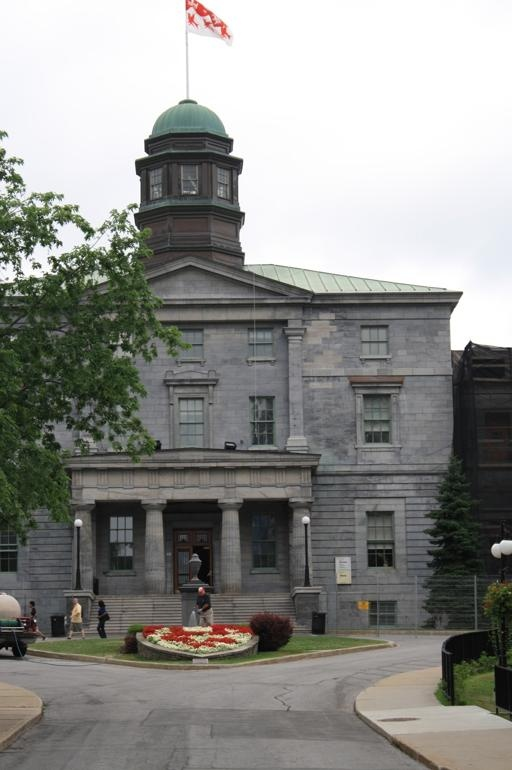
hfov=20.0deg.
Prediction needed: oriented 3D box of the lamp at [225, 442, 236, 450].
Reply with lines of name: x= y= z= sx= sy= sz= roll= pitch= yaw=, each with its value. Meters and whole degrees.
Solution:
lamp: x=-0.968 y=2.317 z=54.595 sx=0.364 sy=0.354 sz=0.218 roll=3 pitch=-45 yaw=-8

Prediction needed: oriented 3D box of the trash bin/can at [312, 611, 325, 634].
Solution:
trash bin/can: x=2.105 y=7.931 z=48.189 sx=0.585 sy=0.904 sz=0.603 roll=0 pitch=-8 yaw=14
